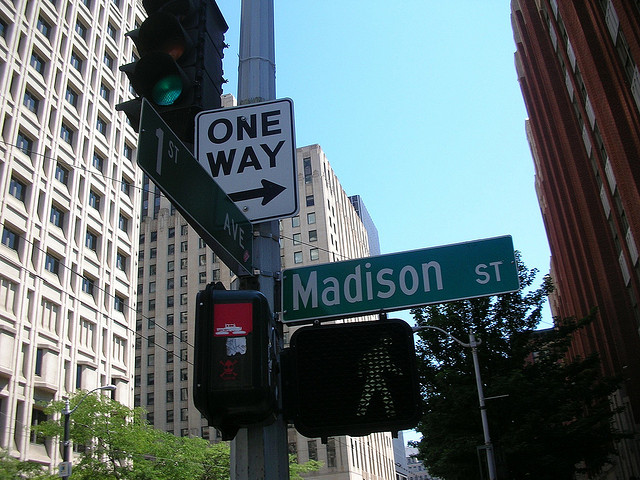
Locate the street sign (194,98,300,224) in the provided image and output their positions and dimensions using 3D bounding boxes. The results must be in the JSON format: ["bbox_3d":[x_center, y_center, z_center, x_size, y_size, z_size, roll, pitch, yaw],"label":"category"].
[{"bbox_3d":[-1.526,-1.640,14.667,2.081,2.665,0.266,-6,-11,4],"label":"street sign"}]
